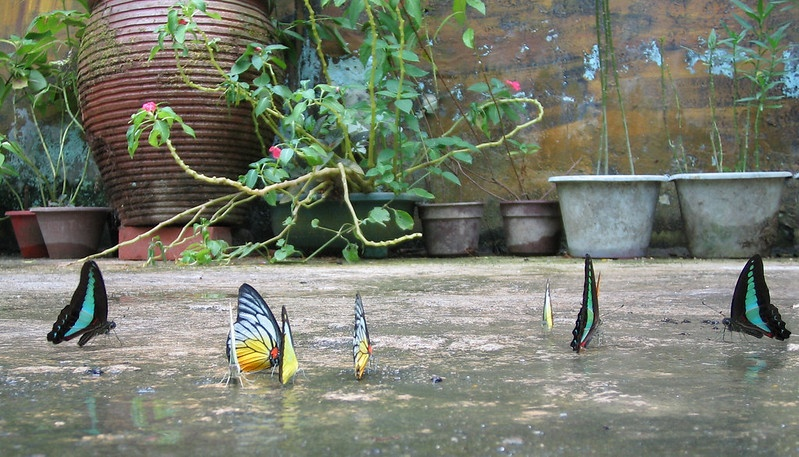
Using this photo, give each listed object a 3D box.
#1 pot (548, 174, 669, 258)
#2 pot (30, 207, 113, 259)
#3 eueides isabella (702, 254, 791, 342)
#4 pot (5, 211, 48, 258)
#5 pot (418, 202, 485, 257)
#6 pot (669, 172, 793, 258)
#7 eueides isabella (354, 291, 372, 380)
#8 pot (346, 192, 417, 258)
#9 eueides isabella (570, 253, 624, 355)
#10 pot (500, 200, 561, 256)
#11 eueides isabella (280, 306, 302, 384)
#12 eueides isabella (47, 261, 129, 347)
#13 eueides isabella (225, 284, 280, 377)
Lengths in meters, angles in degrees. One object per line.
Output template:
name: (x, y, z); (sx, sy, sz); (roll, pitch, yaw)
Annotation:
pot: (1.690, -0.125, 7.662); (0.893, 0.535, 0.821); (-1, 4, 0)
pot: (-2.859, 0.010, 8.077); (0.557, 0.297, 0.494); (0, -6, -2)
eueides isabella: (1.856, 0.349, 4.855); (0.316, 0.434, 0.064); (-1, 4, 15)
pot: (-3.429, 0.064, 8.447); (0.441, 0.311, 0.428); (-4, -6, 0)
pot: (0.421, 0.005, 7.981); (0.530, 0.338, 0.494); (0, 0, 0)
pot: (2.773, -0.074, 7.764); (0.849, 0.506, 0.801); (-1, -1, 0)
eueides isabella: (-0.193, 0.525, 4.707); (0.094, 0.430, 0.233); (-2, 4, -2)
pot: (-0.153, -0.027, 7.722); (0.567, 0.363, 0.548); (0, 0, 0)
eueides isabella: (1.121, 0.437, 5.288); (0.396, 0.417, 0.116); (-30, 41, -24)
pot: (1.189, -0.001, 8.143); (0.637, 0.432, 0.597); (0, -2, 0)
eueides isabella: (-0.562, 0.565, 4.679); (0.097, 0.384, 0.262); (-2, 4, -5)
eueides isabella: (-1.625, 0.439, 4.916); (0.335, 0.420, 0.332); (19, -27, -20)
eueides isabella: (-0.697, 0.490, 4.614); (0.231, 0.450, 0.123); (-2, 4, 0)
